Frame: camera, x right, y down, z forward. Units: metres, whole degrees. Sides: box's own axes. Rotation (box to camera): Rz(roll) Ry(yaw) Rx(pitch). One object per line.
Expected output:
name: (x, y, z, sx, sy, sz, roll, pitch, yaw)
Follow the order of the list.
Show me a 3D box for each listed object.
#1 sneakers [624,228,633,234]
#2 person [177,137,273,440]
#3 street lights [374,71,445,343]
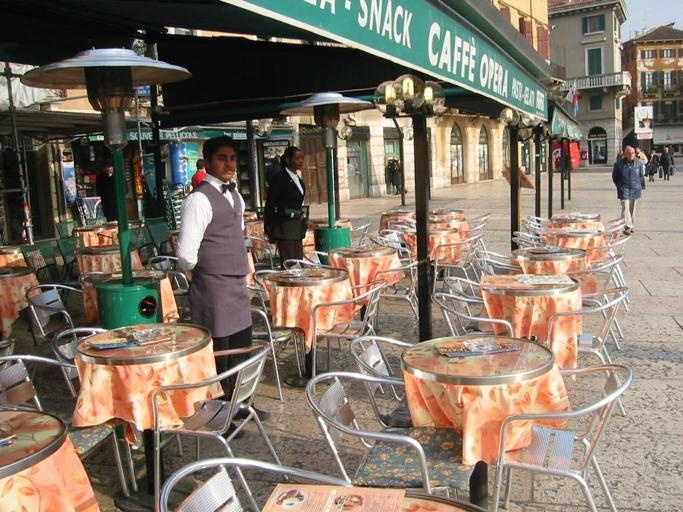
sneakers: (6.495, -0.566, 14.604, 0.211, 0.179, 0.148, -2, 5, 19)
person: (-1.038, -0.074, 5.268, 0.641, 1.779, 0.295, -10, 12, -26)
street lights: (0.679, -0.398, 5.801, 0.596, 2.479, 0.976, -3, 11, 8)
